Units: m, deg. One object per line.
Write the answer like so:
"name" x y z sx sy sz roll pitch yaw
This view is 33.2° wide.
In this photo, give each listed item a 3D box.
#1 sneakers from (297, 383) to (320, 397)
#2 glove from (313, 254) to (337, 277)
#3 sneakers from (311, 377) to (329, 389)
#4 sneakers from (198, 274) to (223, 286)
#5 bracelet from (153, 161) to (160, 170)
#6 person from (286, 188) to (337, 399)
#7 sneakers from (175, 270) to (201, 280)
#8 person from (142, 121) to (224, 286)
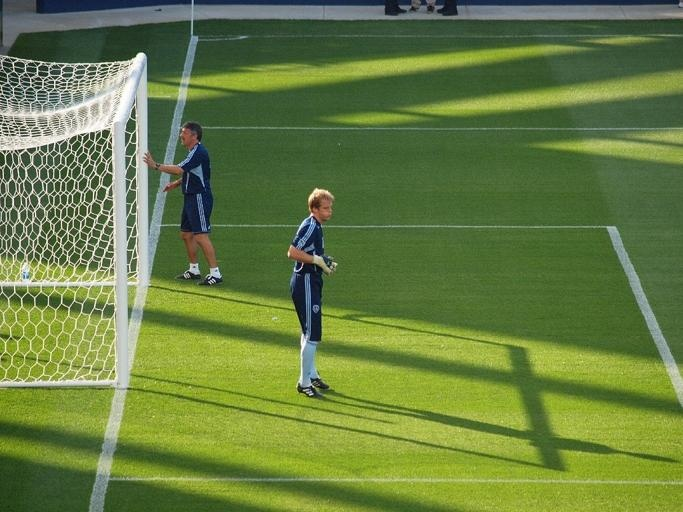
"sneakers" -0.399 1.613 13.800 0.316 0.120 0.107 13 18 -3
"glove" -0.187 0.101 13.343 0.289 0.116 0.159 27 24 -26
"sneakers" -0.268 1.539 13.868 0.270 0.108 0.091 8 14 -1
"sneakers" -1.808 0.346 15.903 0.352 0.130 0.122 -1 1 10
"bracelet" -2.422 -1.180 15.138 0.089 0.120 0.121 3 3 -6
"person" -0.343 0.458 13.520 0.576 2.472 0.471 5 17 1
"sneakers" -2.130 0.275 16.043 0.375 0.132 0.119 1 2 6
"person" -2.024 -0.685 15.598 0.909 2.203 0.501 3 17 -6
